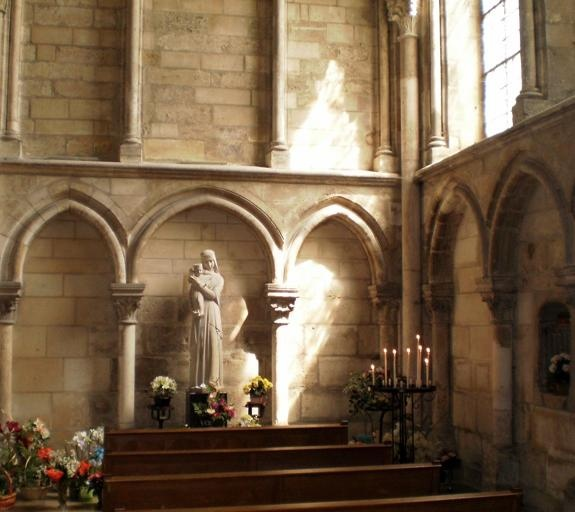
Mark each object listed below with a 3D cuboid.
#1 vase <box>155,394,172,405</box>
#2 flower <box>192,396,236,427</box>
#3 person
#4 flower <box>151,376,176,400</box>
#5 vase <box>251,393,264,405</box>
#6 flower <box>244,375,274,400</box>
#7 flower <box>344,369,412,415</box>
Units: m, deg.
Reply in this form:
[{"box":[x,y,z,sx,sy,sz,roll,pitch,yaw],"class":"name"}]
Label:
[{"box":[-1.690,1.901,14.248,0.242,0.143,0.174,2,-5,-18],"class":"vase"},{"box":[-0.982,1.965,13.677,0.508,0.381,0.456,1,-5,-7],"class":"flower"},{"box":[-1.124,0.835,14.359,0.466,1.820,0.385,1,-5,-7],"class":"person"},{"box":[-1.691,1.727,14.330,0.323,0.260,0.322,6,-14,-16],"class":"flower"},{"box":[-0.435,1.895,14.325,0.160,0.099,0.160,0,-1,18],"class":"vase"},{"box":[-0.434,1.735,14.438,0.386,0.340,0.389,6,-14,-17],"class":"flower"},{"box":[1.136,1.825,14.147,0.682,0.528,0.695,3,-9,-10],"class":"flower"}]
